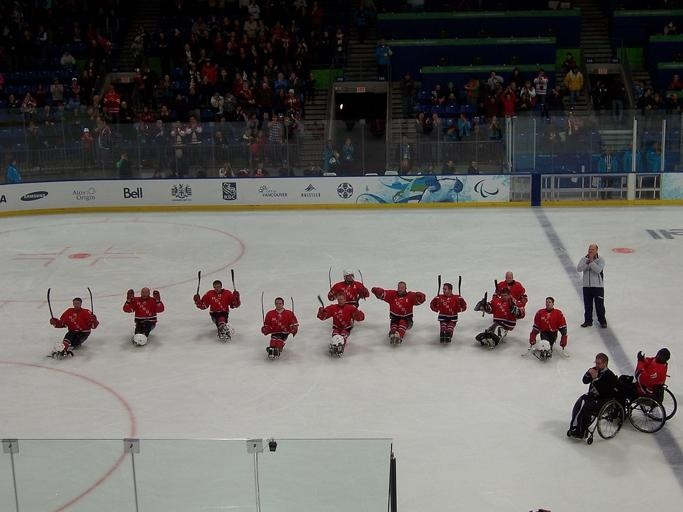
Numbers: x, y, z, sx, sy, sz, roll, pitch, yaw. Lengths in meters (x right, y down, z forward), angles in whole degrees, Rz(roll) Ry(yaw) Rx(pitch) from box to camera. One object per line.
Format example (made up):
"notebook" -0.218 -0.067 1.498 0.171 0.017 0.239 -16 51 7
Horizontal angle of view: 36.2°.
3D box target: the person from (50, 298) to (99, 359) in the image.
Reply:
"person" -6.103 1.606 23.443 1.109 0.994 1.684 1 21 1

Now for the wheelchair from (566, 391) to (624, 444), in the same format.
"wheelchair" 4.853 2.739 19.863 1.004 1.373 0.702 -8 21 6

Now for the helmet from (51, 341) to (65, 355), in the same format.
"helmet" -6.400 2.060 23.260 0.369 0.300 0.138 1 7 15

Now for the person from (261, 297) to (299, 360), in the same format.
"person" -1.407 1.590 23.304 0.838 1.332 0.711 -11 17 -36

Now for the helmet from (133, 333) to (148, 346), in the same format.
"helmet" -4.633 1.893 23.898 0.377 0.283 0.324 -4 7 -31

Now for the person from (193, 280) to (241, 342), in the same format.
"person" -2.856 1.229 24.096 1.027 0.813 1.694 -8 28 -9

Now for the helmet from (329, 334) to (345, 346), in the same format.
"helmet" -0.105 1.839 23.166 0.297 0.198 0.396 -1 6 -3

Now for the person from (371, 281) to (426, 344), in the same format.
"person" 1.230 1.256 24.010 1.107 1.368 1.104 -5 8 -36

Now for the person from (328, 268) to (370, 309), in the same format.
"person" 0.150 0.805 25.209 0.877 1.058 0.353 -3 7 -12

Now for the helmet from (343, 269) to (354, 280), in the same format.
"helmet" 0.148 0.441 24.443 0.180 0.220 0.228 -12 -27 -5

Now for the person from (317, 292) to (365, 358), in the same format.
"person" -0.033 1.473 23.696 0.957 1.333 1.549 0 6 7

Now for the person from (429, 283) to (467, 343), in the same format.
"person" 2.443 1.227 24.059 0.772 1.309 1.398 0 7 6

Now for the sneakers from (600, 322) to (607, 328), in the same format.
"sneakers" 6.050 1.579 24.086 0.117 0.126 0.315 -2 2 6

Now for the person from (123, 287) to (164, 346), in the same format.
"person" -4.641 1.353 24.251 0.841 1.277 1.110 -3 7 -20
